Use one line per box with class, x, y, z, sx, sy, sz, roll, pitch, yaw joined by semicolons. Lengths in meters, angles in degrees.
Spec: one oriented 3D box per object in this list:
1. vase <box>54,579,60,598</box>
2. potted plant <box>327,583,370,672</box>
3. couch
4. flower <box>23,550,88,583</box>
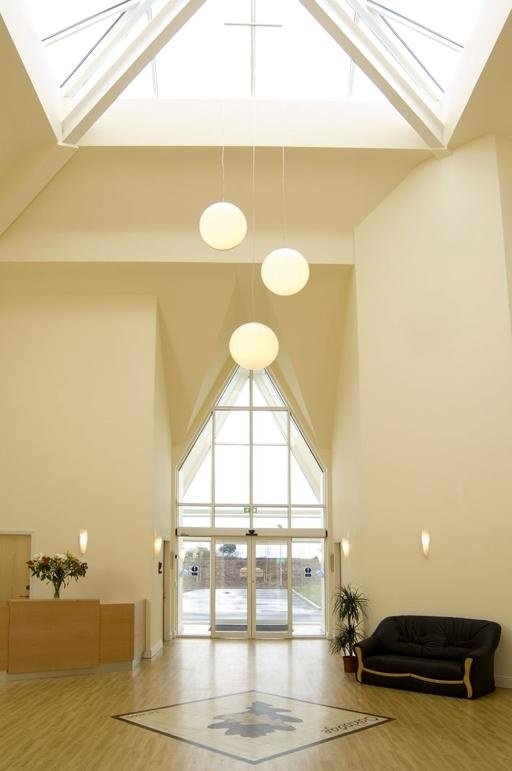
vase;-2.867;2.921;8.065;0.063;0.232;0.111;7;-13;-26
potted plant;1.462;3.781;8.819;0.450;1.290;0.509;10;-14;-44
couch;2.091;3.247;6.828;0.947;0.830;1.663;11;-17;-37
flower;-3.055;2.776;8.685;0.640;0.476;0.713;1;-6;4
